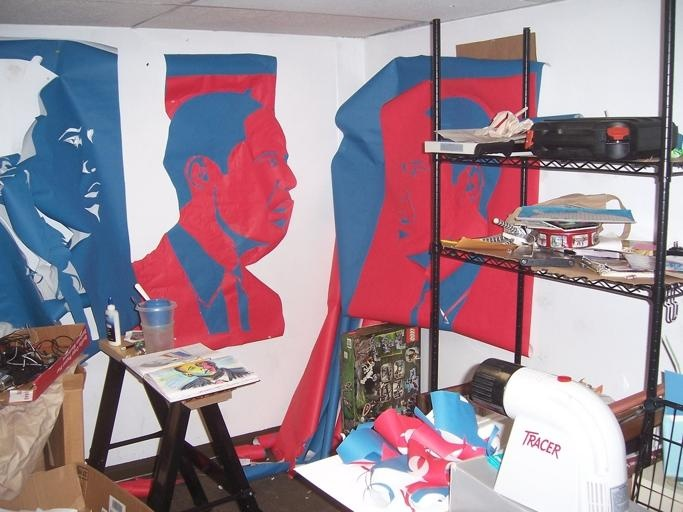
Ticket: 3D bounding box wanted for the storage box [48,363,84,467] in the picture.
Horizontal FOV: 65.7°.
[{"bbox_3d":[-1.243,0.717,2.394,0.080,0.265,0.458,2,-33,-23],"label":"storage box"}]
